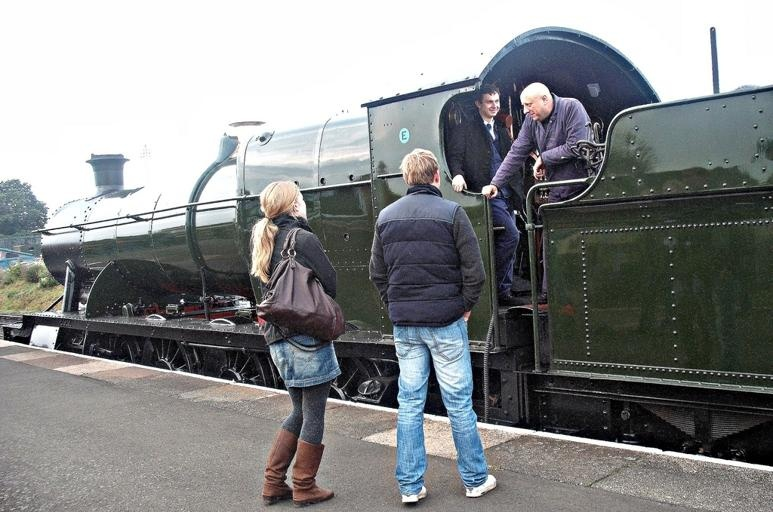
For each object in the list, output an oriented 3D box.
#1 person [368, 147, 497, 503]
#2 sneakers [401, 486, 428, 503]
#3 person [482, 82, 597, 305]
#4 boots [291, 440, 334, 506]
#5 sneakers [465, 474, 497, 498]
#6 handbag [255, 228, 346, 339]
[{"bbox_3d":[0.348,0.504,3.993,0.854,2.635,0.495,-4,5,-2],"label":"person"},{"bbox_3d":[0.207,1.781,3.945,0.084,0.097,0.231,2,3,23],"label":"sneakers"},{"bbox_3d":[1.660,-0.663,5.447,1.057,2.284,1.177,1,6,42],"label":"person"},{"bbox_3d":[-0.564,1.613,3.978,0.312,0.530,0.173,-5,5,-12],"label":"boots"},{"bbox_3d":[0.706,1.738,3.996,0.109,0.119,0.267,5,10,40],"label":"sneakers"},{"bbox_3d":[-0.655,0.211,3.912,0.594,0.818,0.301,-5,5,-14],"label":"handbag"}]
